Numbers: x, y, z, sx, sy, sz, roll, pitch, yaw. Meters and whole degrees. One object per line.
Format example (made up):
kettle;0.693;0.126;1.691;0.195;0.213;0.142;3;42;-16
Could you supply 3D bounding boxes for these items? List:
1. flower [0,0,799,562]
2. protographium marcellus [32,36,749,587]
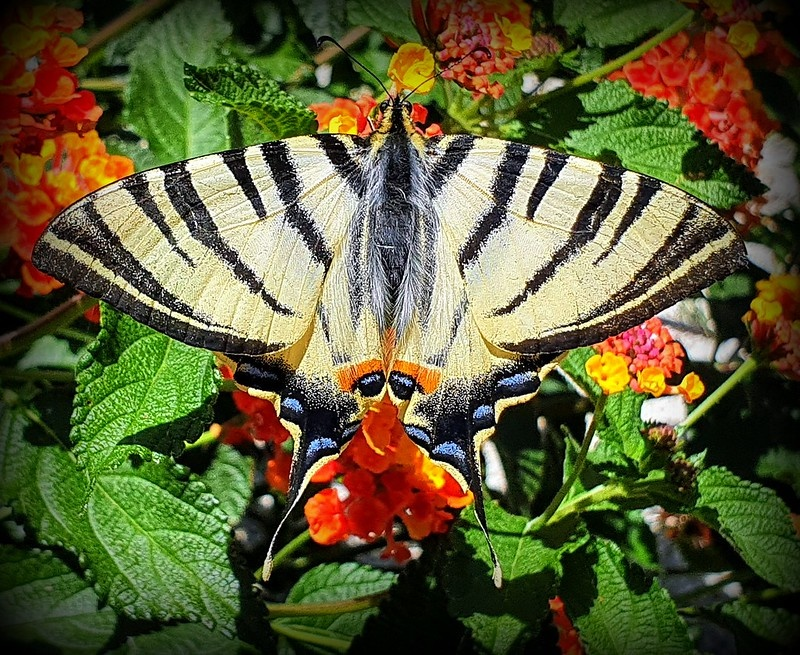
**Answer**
flower;-0.002;-0.033;0.831;0.571;0.452;0.163;1;9;5
protographium marcellus;-0.006;-0.004;0.803;0.641;0.478;0.059;1;-4;-5
